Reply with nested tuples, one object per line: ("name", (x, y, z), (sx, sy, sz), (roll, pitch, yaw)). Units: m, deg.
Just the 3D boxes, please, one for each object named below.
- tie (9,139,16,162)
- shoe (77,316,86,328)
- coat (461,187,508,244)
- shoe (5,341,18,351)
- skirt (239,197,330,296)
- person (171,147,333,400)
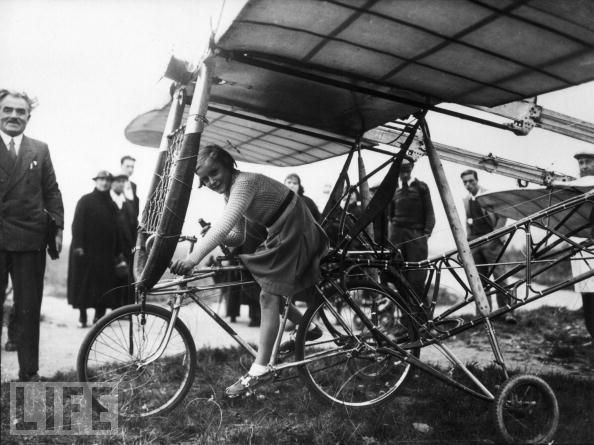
("tie", (-2.580, -0.653, 7.085), (0.056, 0.170, 0.067), (-3, 15, -21))
("shoe", (-2.064, 0.952, 7.469), (0.065, 0.088, 0.024), (-22, -5, -46))
("coat", (1.973, -0.088, 8.201), (0.418, 0.576, 0.321), (-15, 21, 34))
("shoe", (-2.593, 1.118, 7.081), (0.088, 0.084, 0.021), (3, -10, -26))
("skirt", (-0.055, 0.196, 6.462), (0.755, 0.731, 0.354), (-7, 17, -35))
("person", (-0.309, 0.409, 6.509), (1.197, 2.012, 0.760), (1, 14, -5))
